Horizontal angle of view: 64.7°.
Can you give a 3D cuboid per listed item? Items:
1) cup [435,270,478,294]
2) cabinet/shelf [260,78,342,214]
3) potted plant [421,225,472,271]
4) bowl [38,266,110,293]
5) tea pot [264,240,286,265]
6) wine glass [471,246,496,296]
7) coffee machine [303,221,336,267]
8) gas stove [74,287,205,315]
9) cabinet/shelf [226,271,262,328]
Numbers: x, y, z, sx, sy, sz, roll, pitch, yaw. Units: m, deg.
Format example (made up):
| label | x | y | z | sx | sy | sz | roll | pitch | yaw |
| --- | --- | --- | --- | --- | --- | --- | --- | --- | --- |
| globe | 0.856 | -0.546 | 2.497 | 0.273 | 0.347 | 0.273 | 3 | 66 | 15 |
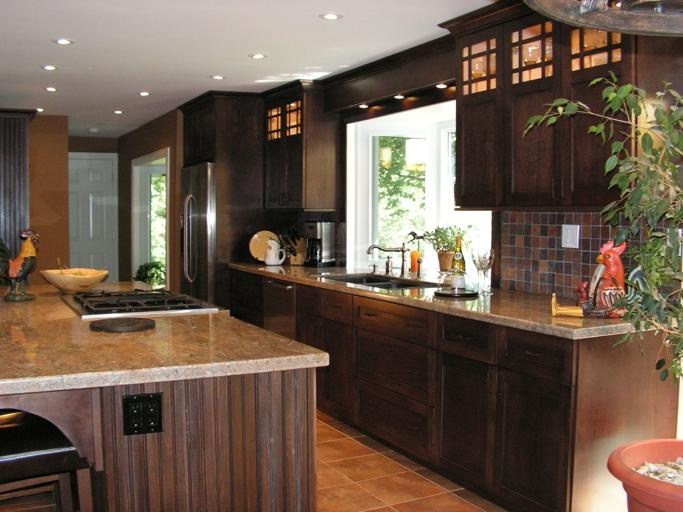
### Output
| label | x | y | z | sx | sy | sz | roll | pitch | yaw |
| --- | --- | --- | --- | --- | --- | --- | --- | --- | --- |
| cup | 0.719 | 0.186 | 3.452 | 0.194 | 0.086 | 0.191 | 1 | 0 | 0 |
| cabinet/shelf | -0.369 | -1.111 | 5.339 | 0.782 | 1.571 | 1.272 | 0 | 2 | -20 |
| potted plant | 0.784 | -0.055 | 4.078 | 0.339 | 0.390 | 0.391 | 0 | 0 | 2 |
| bowl | -1.742 | 0.156 | 3.509 | 0.362 | 0.155 | 0.385 | -2 | 2 | 0 |
| tea pot | -0.737 | -0.027 | 5.535 | 0.288 | 0.275 | 0.186 | 4 | -9 | -14 |
| wine glass | 0.955 | 0.097 | 3.627 | 0.145 | 0.281 | 0.544 | -1 | 2 | 16 |
| coffee machine | -0.211 | -0.120 | 5.357 | 0.307 | 0.442 | 0.151 | -2 | 3 | 2 |
| gas stove | -1.132 | 0.257 | 3.054 | 0.650 | 0.072 | 0.727 | -3 | 2 | -29 |
| cabinet/shelf | -0.909 | 0.406 | 5.128 | 0.291 | 0.495 | 0.524 | 1 | 3 | -34 |
